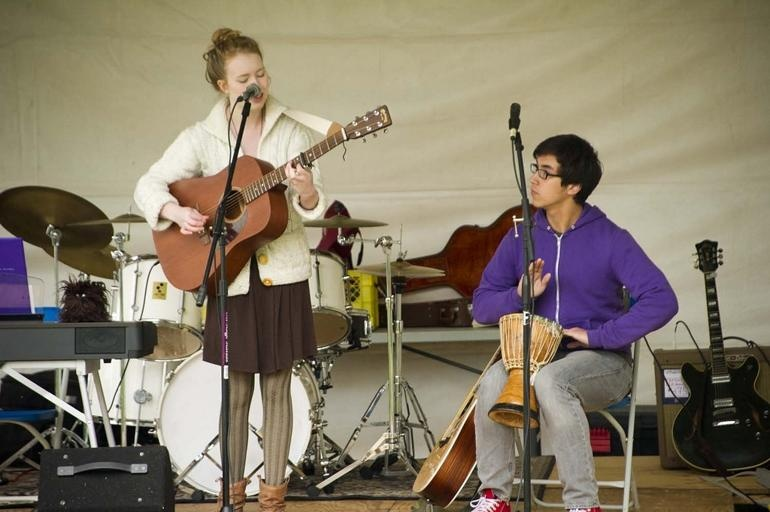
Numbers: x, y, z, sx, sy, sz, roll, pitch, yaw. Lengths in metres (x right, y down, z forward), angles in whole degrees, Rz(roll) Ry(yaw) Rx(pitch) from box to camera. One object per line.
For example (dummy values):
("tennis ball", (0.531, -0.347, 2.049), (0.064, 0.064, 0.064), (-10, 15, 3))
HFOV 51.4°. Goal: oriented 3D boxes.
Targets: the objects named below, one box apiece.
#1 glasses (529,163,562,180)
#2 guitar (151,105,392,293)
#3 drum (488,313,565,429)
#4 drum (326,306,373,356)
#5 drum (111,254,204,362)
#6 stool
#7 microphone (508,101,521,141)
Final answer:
("glasses", (0.852, -0.425, 4.165), (0.108, 0.036, 0.106), (8, 1, -17))
("guitar", (-0.535, -0.224, 4.194), (1.362, 0.671, 0.214), (-30, -17, 16))
("drum", (0.695, 0.566, 3.862), (0.326, 0.486, 0.327), (12, -29, 7))
("drum", (-0.207, 0.495, 5.240), (0.249, 0.275, 0.109), (-3, 13, -4))
("drum", (-1.307, 0.256, 5.012), (0.450, 0.474, 0.472), (-16, -16, 41))
("stool", (-1.866, 1.036, 4.614), (0.639, 0.638, 0.551), (-5, -23, 2))
("microphone", (0.627, -0.642, 3.858), (0.044, 0.225, 0.176), (-2, -9, 9))
